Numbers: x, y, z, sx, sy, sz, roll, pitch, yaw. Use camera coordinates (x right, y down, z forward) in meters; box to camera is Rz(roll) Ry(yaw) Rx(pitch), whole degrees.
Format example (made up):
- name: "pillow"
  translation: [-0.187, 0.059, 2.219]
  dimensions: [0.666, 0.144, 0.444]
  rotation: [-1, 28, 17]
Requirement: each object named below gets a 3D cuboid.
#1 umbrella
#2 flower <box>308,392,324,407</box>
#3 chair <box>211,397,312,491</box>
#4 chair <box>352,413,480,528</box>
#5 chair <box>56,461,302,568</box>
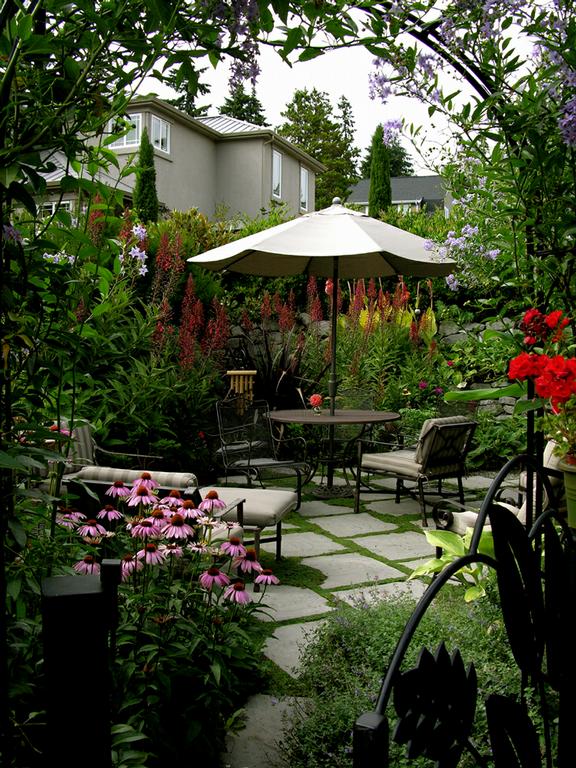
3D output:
- name: "umbrella"
  translation: [0.439, -0.657, 6.218]
  dimensions: [2.006, 2.138, 2.203]
  rotation: [-7, 15, -35]
- name: "flower"
  translation: [0.267, 0.147, 5.908]
  dimensions: [0.131, 0.120, 0.120]
  rotation: [0, -2, -26]
- name: "chair"
  translation: [-0.236, 0.612, 5.800]
  dimensions: [0.688, 0.846, 0.676]
  rotation: [-1, 7, -37]
- name: "chair"
  translation: [1.207, 0.677, 5.469]
  dimensions: [0.839, 0.906, 0.949]
  rotation: [1, 0, -43]
- name: "chair"
  translation: [-0.612, 0.805, 3.685]
  dimensions: [0.845, 0.593, 1.026]
  rotation: [-1, -11, 19]
